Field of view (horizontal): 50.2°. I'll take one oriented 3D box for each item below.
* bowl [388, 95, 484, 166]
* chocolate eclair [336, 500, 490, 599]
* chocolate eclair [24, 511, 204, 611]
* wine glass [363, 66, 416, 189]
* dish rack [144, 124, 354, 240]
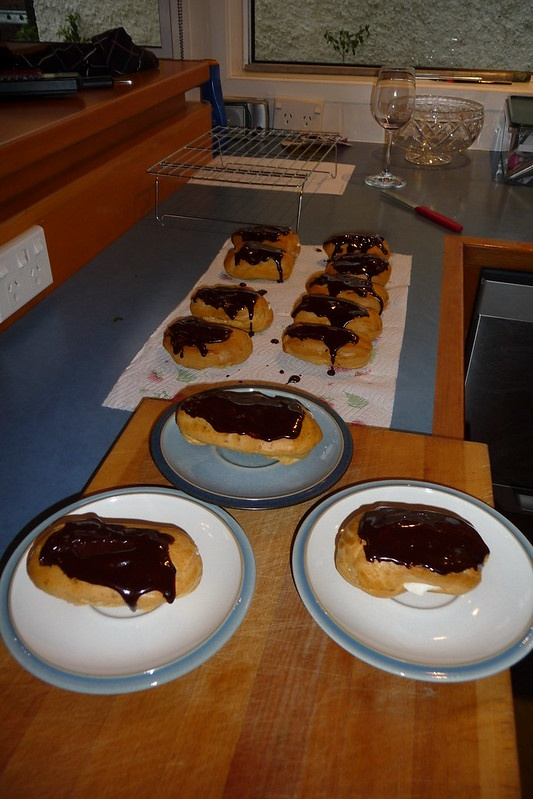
[{"bbox_3d":[0.481,-0.776,1.631,0.275,0.165,0.278,1,35,-1],"label":"bowl"},{"bbox_3d":[0.104,0.099,0.388,0.078,0.028,0.063,9,40,17],"label":"chocolate eclair"},{"bbox_3d":[-0.101,0.105,0.377,0.091,0.029,0.060,7,33,-6],"label":"chocolate eclair"},{"bbox_3d":[0.311,-0.697,1.448,0.106,0.262,0.262,5,32,8],"label":"wine glass"},{"bbox_3d":[-0.009,-0.603,1.468,0.445,0.128,0.791,5,32,7],"label":"dish rack"}]
